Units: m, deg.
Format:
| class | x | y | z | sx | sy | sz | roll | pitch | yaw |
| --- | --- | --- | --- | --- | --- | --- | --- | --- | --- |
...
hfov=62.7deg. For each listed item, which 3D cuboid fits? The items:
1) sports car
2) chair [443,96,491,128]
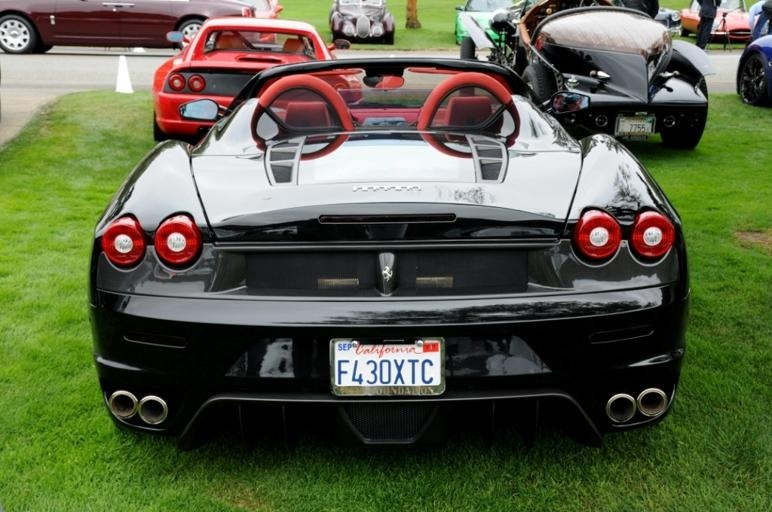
| class | x | y | z | sx | sy | sz | roll | pitch | yaw |
| --- | --- | --- | --- | --- | --- | --- | --- | --- | --- |
| sports car | 0.025 | -0.763 | 4.851 | 2.954 | 1.695 | 5.229 | -1 | 23 | 0 |
| chair | 0.494 | -0.853 | 3.748 | 0.240 | 0.171 | 0.175 | 0 | 22 | 1 |
